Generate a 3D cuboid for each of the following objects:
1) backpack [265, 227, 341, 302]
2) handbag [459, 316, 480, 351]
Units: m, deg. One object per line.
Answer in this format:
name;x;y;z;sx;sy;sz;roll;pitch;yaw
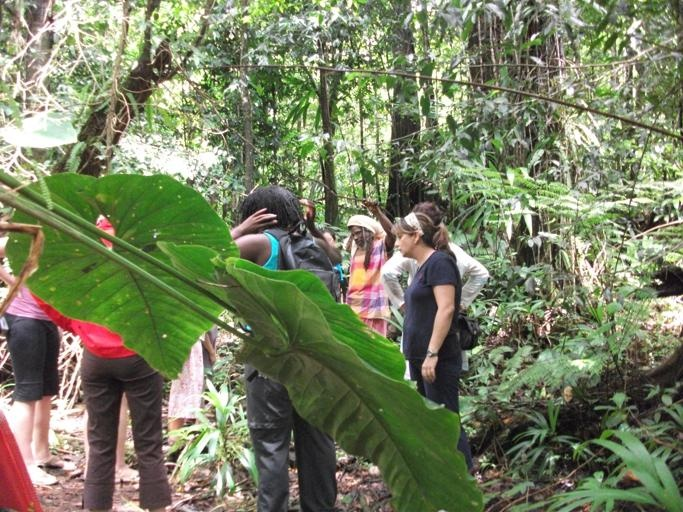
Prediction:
backpack;-0.240;0.031;3.345;0.443;0.502;0.338;0;3;-6
handbag;0.971;0.574;4.324;0.183;0.359;0.333;-1;-8;17
